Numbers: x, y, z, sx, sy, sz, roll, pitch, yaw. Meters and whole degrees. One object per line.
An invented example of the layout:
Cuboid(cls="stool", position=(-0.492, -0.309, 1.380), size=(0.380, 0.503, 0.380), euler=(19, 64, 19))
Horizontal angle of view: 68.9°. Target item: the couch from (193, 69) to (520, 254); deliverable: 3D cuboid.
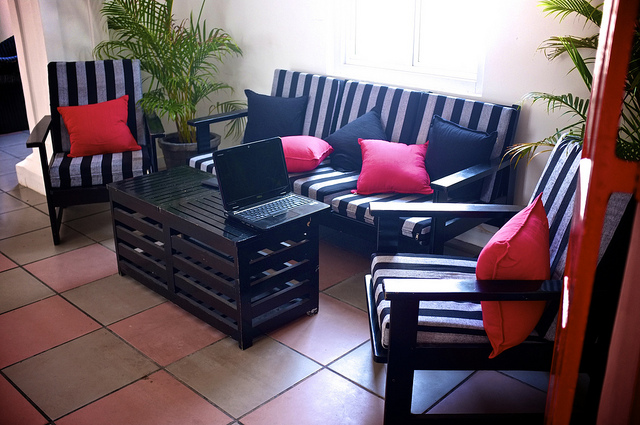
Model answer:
Cuboid(cls="couch", position=(0.343, -0.334, 3.205), size=(1.449, 0.577, 0.601), euler=(19, 45, 32))

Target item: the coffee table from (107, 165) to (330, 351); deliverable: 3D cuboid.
Cuboid(cls="coffee table", position=(-0.738, 0.224, 3.113), size=(1.415, 0.652, 0.705), euler=(15, 21, 32))

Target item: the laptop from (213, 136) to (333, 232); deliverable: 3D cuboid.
Cuboid(cls="laptop", position=(-0.260, -0.159, 2.679), size=(0.559, 0.338, 0.603), euler=(16, 28, 23))
